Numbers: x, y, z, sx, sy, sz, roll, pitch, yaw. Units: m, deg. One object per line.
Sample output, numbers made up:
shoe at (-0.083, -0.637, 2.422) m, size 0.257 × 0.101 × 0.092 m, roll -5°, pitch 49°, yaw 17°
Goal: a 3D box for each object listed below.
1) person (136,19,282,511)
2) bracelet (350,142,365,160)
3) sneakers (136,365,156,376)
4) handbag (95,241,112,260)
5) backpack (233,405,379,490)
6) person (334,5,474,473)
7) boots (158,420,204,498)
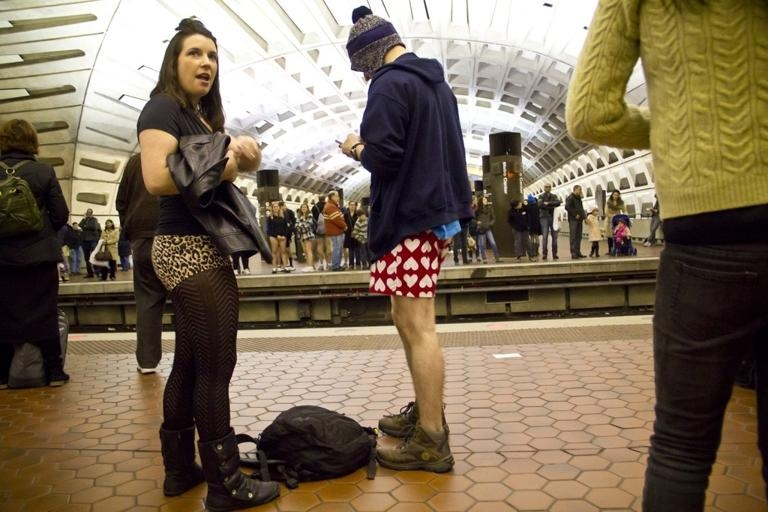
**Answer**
person at (-1.040, 0.012, 2.589) m, size 0.729 × 2.787 × 0.564 m, roll -1°, pitch 4°, yaw 33°
bracelet at (-0.169, -0.645, 2.821) m, size 0.075 × 0.113 × 0.142 m, roll -4°, pitch 3°, yaw -11°
sneakers at (-2.750, 1.291, 5.250) m, size 0.110 × 0.104 × 0.282 m, roll 1°, pitch 0°, yaw -17°
handbag at (-9.500, -0.158, 15.262) m, size 0.450 × 0.435 × 0.608 m, roll -5°, pitch 4°, yaw -28°
backpack at (-0.456, 1.201, 2.875) m, size 0.557 × 0.176 × 0.535 m, roll 1°, pitch -3°, yaw 7°
person at (0.193, 0.033, 2.900) m, size 0.811 × 2.593 × 0.365 m, roll -4°, pitch 3°, yaw -5°
boots at (-1.228, 1.230, 2.810) m, size 0.190 × 0.352 × 0.388 m, roll -9°, pitch -13°, yaw 6°
